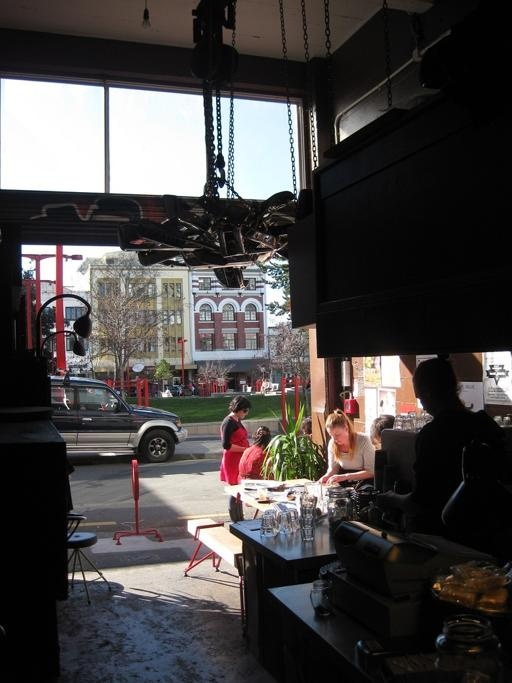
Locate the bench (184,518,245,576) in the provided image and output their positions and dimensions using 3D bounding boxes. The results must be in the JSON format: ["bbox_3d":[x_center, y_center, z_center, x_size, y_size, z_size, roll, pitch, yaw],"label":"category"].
[{"bbox_3d":[-0.375,1.827,5.700,0.255,0.357,0.639,-5,-11,17],"label":"bench"}]

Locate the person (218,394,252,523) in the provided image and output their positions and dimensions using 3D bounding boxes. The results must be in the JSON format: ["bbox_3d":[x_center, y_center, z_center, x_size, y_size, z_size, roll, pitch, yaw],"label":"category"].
[{"bbox_3d":[-0.212,1.246,6.662,0.395,1.320,0.378,-3,5,-31],"label":"person"}]

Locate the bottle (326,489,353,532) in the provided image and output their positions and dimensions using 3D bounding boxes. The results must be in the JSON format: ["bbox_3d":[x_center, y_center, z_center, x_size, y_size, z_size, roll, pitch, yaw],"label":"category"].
[{"bbox_3d":[0.517,1.058,3.896,0.153,0.290,0.174,-13,-19,33],"label":"bottle"}]
